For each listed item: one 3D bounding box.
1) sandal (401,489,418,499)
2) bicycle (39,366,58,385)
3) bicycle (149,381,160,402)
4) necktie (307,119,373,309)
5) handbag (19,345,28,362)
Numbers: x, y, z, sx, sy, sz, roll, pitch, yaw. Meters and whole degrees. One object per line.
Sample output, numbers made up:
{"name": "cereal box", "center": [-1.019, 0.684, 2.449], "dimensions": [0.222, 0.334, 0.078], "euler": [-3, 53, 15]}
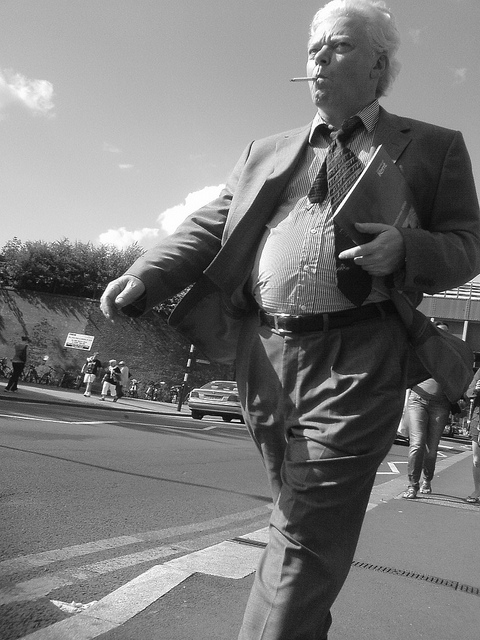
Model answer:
{"name": "sandal", "center": [2.474, 2.555, 6.010], "dimensions": [0.091, 0.116, 0.265], "euler": [-1, -21, 12]}
{"name": "bicycle", "center": [-12.224, 3.583, 26.519], "dimensions": [0.707, 1.162, 1.085], "euler": [9, -13, -9]}
{"name": "bicycle", "center": [-5.834, 4.834, 28.143], "dimensions": [0.669, 0.731, 1.076], "euler": [2, -7, -7]}
{"name": "necktie", "center": [0.287, -0.302, 1.114], "dimensions": [0.177, 0.576, 0.057], "euler": [-6, -21, 18]}
{"name": "handbag", "center": [-8.537, 1.359, 16.470], "dimensions": [0.117, 0.492, 0.498], "euler": [16, -26, 0]}
